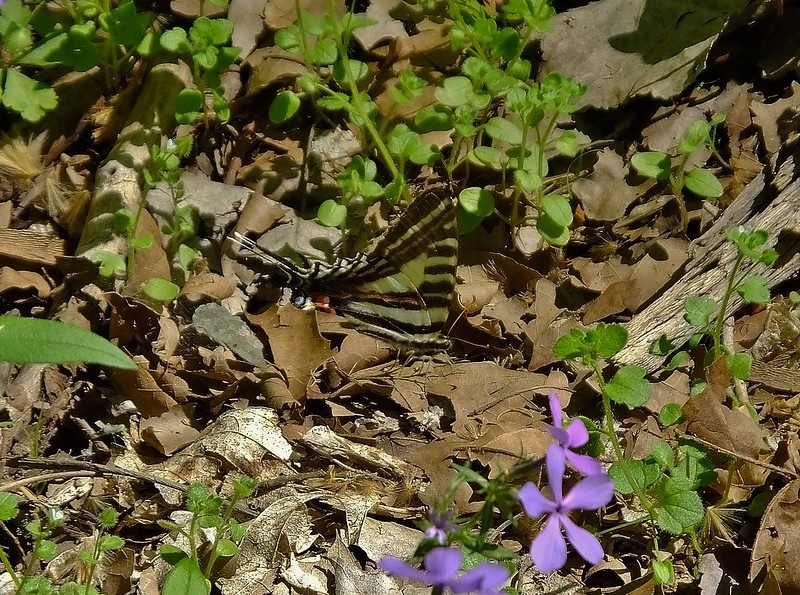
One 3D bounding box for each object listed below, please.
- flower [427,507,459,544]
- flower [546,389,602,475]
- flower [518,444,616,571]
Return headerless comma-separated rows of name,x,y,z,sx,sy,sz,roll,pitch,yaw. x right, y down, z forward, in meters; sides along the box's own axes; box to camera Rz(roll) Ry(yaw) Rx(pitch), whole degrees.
flower,0.127,0.718,2.713,0.114,0.037,0.117,-16,96,-37
flower,0.692,0.531,3.356,0.116,0.298,0.301,-33,94,18
flower,0.518,0.648,2.904,0.421,0.106,0.432,11,88,-31
